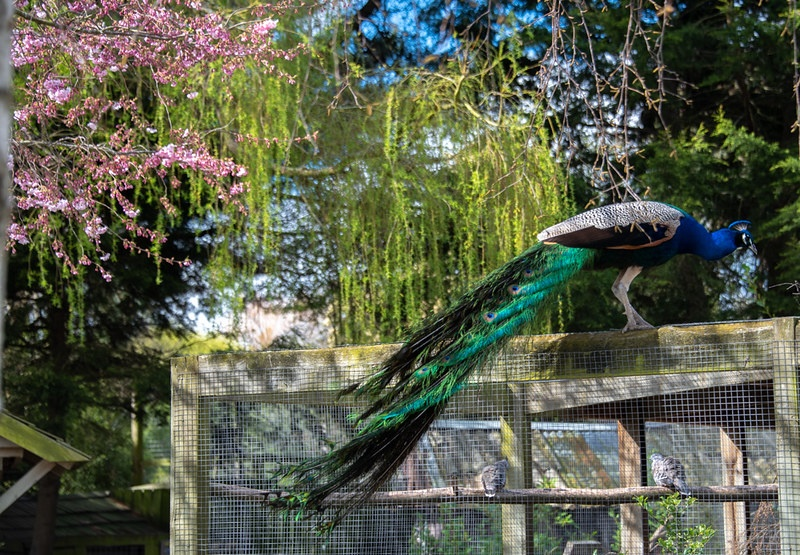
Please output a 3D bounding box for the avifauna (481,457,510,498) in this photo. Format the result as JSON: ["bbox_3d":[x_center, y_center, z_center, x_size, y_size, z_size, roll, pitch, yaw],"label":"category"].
[{"bbox_3d":[0.937,2.019,16.381,0.211,0.329,0.466,-5,3,31],"label":"avifauna"}]

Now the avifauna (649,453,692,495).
[{"bbox_3d":[2.648,1.957,16.414,0.257,0.374,0.564,9,-3,-30],"label":"avifauna"}]
